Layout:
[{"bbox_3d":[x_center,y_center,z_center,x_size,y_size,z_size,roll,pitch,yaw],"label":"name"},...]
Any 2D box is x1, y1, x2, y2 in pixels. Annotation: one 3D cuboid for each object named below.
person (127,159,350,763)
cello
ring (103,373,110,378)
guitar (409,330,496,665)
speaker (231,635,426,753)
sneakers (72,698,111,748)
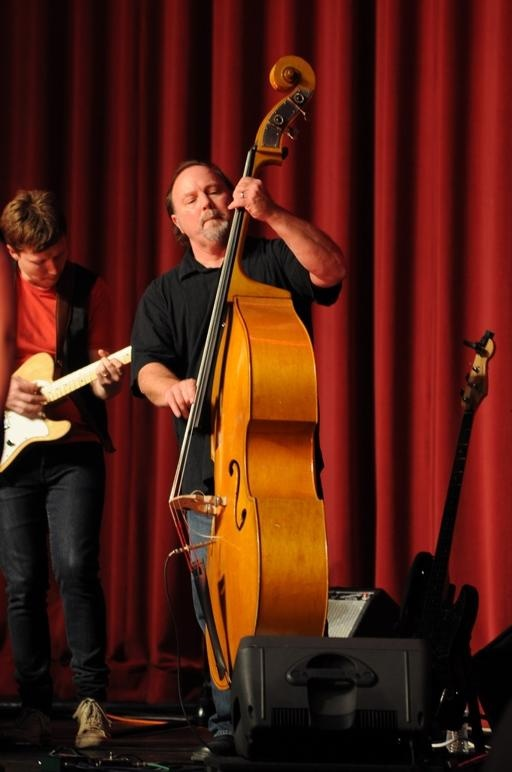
[{"bbox_3d":[-0.030,0.028,2.388,0.397,1.551,0.559,-5,-17,-12],"label":"person"},{"bbox_3d":[0.004,-0.057,2.130,0.322,1.422,0.497,1,-4,-17],"label":"cello"},{"bbox_3d":[-0.437,-0.030,2.915,0.009,0.019,0.005,-22,14,12],"label":"ring"},{"bbox_3d":[0.502,0.250,2.652,0.195,0.823,0.441,-3,-5,34],"label":"guitar"},{"bbox_3d":[0.135,0.584,1.851,0.354,0.242,0.135,0,-4,-1],"label":"speaker"},{"bbox_3d":[-0.461,0.926,2.751,0.080,0.115,0.249,3,-6,-14],"label":"sneakers"}]
